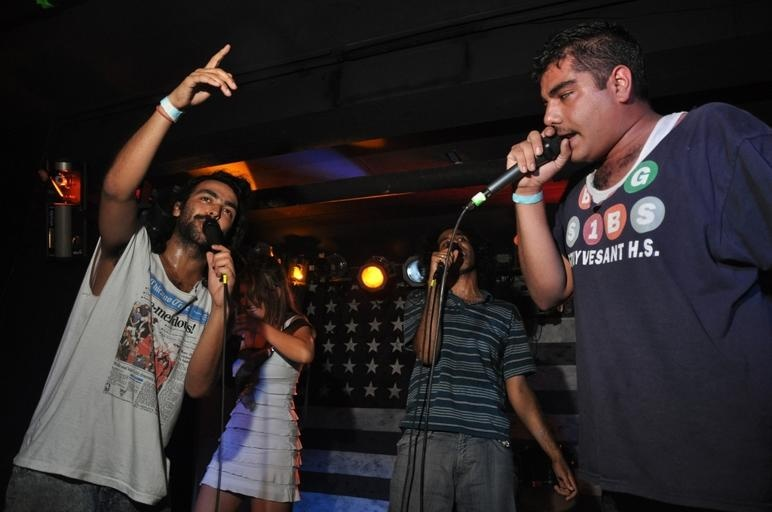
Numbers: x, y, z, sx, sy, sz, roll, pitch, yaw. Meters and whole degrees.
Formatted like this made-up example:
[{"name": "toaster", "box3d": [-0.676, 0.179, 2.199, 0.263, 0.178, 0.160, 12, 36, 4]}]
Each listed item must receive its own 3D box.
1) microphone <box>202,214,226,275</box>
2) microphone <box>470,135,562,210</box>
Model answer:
[{"name": "microphone", "box3d": [-0.889, -0.102, 2.467, 0.097, 0.202, 0.072, 8, 2, -28]}, {"name": "microphone", "box3d": [0.504, -0.323, 2.087, 0.399, 0.095, 0.089, -35, -2, -31]}]
